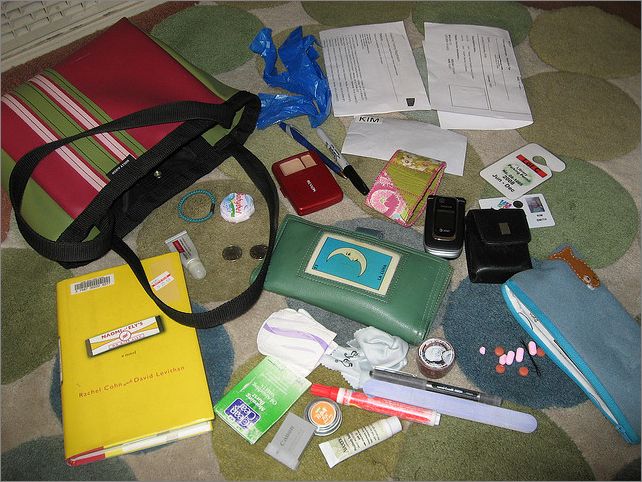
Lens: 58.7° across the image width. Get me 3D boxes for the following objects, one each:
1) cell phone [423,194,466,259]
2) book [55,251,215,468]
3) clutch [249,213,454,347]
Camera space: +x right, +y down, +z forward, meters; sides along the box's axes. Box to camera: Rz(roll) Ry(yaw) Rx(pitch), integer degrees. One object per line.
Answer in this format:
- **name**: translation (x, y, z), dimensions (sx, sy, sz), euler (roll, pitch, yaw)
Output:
- **cell phone**: translation (0.275, -0.030, 1.253), dimensions (0.082, 0.034, 0.135), euler (9, 70, 15)
- **book**: translation (-0.391, 0.229, 1.185), dimensions (0.292, 0.053, 0.390), euler (-14, 69, 1)
- **clutch**: translation (0.068, 0.096, 1.230), dimensions (0.285, 0.062, 0.260), euler (7, 48, 3)
